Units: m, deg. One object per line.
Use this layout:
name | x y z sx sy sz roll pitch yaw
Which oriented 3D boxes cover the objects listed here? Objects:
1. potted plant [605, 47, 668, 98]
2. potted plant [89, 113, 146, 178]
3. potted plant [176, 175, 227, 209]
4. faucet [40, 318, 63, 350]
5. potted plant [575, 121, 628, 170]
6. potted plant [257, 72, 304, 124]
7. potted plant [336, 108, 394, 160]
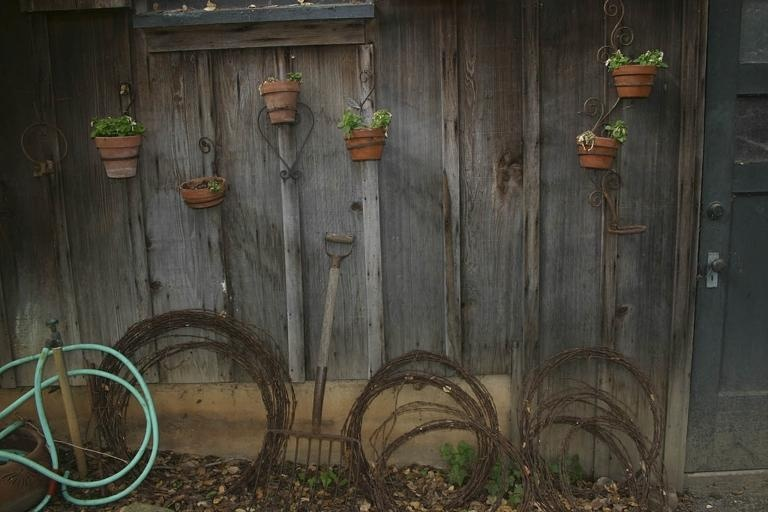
potted plant | 1.605 -1.152 4.879 0.360 0.271 0.289 2 11 15
potted plant | -1.711 -0.694 4.941 0.293 0.342 0.277 3 17 11
potted plant | -1.167 -0.420 4.947 0.238 0.124 0.207 -5 23 -9
faucet | -2.147 0.477 4.958 0.105 0.210 0.459 -6 10 -24
potted plant | 1.380 -0.735 4.920 0.275 0.307 0.257 8 11 0
potted plant | -0.659 -0.995 4.940 0.260 0.282 0.267 -7 7 -17
potted plant | -0.085 -0.757 4.918 0.329 0.309 0.297 -2 1 8
